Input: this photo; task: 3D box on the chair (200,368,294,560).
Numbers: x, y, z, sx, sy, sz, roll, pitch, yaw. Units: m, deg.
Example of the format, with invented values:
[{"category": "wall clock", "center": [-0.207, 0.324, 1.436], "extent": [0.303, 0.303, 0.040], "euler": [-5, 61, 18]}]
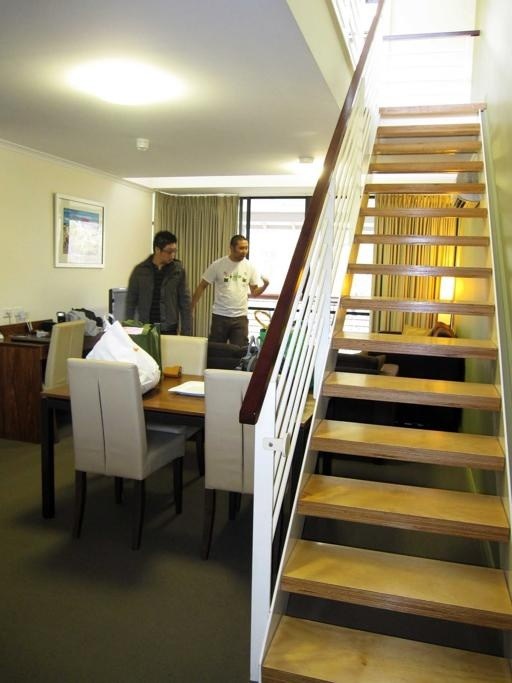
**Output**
[{"category": "chair", "center": [-0.140, 0.542, 2.230], "extent": [0.182, 0.854, 0.347], "euler": [-2, 7, -33]}]

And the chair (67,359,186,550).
[{"category": "chair", "center": [-0.613, 0.488, 2.541], "extent": [0.376, 0.851, 0.507], "euler": [4, 6, 22]}]

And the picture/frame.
[{"category": "picture/frame", "center": [-1.837, -1.122, 5.474], "extent": [0.870, 0.693, 0.029], "euler": [11, 11, 36]}]

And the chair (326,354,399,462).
[{"category": "chair", "center": [0.683, 0.477, 3.388], "extent": [0.415, 0.803, 0.866], "euler": [3, 6, 16]}]
